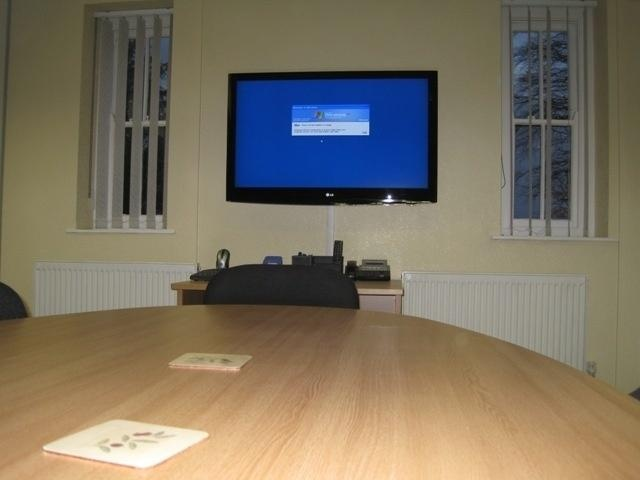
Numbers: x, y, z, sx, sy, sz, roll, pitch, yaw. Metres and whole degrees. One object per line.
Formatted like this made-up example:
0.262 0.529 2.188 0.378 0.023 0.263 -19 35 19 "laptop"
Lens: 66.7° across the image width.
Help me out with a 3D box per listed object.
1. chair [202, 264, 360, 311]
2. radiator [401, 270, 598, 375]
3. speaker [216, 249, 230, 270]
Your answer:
-0.148 0.167 1.838 0.573 0.138 0.210 0 8 -3 "chair"
1.272 0.498 3.192 0.063 0.581 0.871 -14 10 -43 "radiator"
-0.608 0.120 3.041 0.086 0.165 0.154 1 -9 -5 "speaker"
